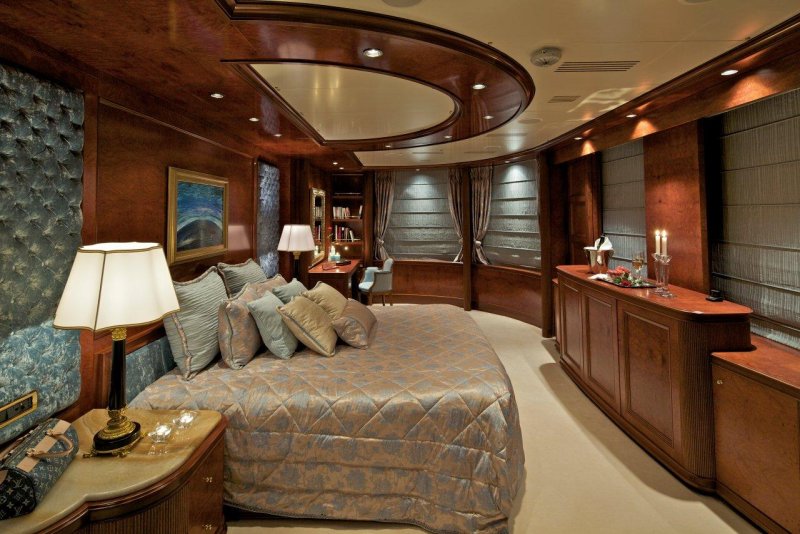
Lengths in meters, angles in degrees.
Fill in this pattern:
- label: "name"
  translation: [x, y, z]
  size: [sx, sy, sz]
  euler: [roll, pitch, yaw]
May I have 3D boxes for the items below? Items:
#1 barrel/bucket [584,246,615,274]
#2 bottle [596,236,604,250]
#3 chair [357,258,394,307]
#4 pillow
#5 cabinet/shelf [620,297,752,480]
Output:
- label: "barrel/bucket"
  translation: [2.095, -0.051, 5.281]
  size: [0.335, 0.252, 0.342]
  euler: [1, -2, 0]
- label: "bottle"
  translation: [2.099, -0.250, 5.151]
  size: [0.047, 0.136, 0.103]
  euler: [22, -8, -7]
- label: "chair"
  translation: [-0.439, 0.260, 8.255]
  size: [0.727, 0.922, 0.697]
  euler: [0, 3, -17]
- label: "pillow"
  translation: [-1.091, 0.442, 4.128]
  size: [1.090, 0.416, 1.138]
  euler: [4, 9, 4]
- label: "cabinet/shelf"
  translation: [2.240, 0.947, 3.840]
  size: [0.606, 1.308, 1.410]
  euler: [0, 2, -3]
